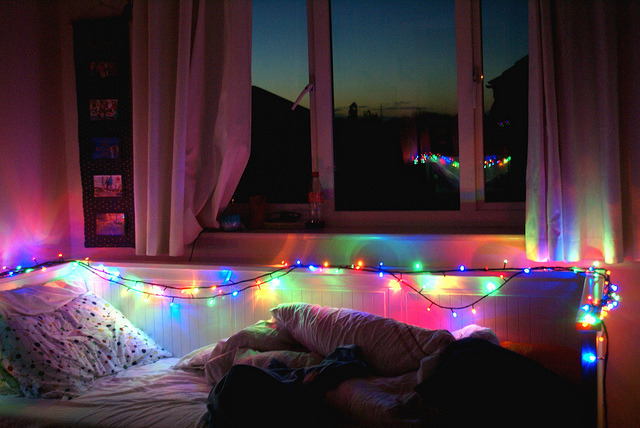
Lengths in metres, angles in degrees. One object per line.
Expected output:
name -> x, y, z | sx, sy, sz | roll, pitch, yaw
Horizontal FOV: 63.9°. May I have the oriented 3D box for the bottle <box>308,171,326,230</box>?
bottle -> -0.026, -0.093, 3.421 | 0.103, 0.351, 0.186 | 1, 0, 0
